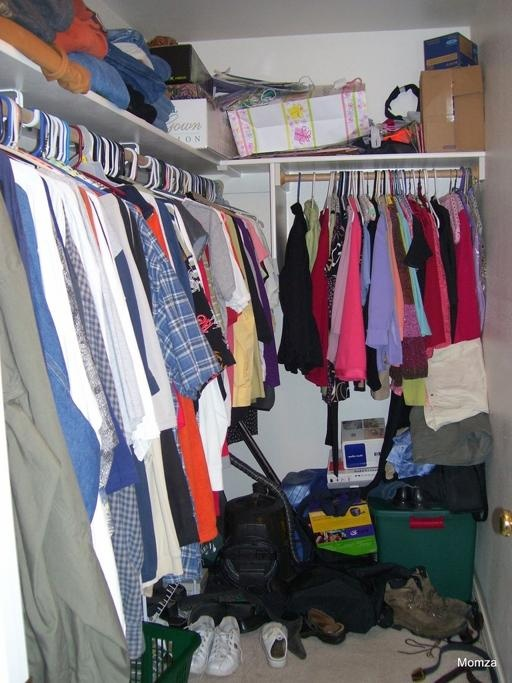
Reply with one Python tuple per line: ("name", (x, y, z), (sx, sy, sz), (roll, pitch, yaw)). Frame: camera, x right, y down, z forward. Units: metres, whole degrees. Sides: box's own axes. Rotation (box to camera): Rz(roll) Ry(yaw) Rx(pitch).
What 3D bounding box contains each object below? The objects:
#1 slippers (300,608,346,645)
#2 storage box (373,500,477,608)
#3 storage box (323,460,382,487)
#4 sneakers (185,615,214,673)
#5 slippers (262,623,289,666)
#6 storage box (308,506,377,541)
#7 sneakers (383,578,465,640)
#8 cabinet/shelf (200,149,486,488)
("slippers", (0.236, 0.991, 2.053), (0.070, 0.049, 0.130), (-7, 6, -31))
("storage box", (0.631, 0.818, 2.255), (0.385, 0.287, 0.292), (-1, -9, 8))
("storage box", (0.419, 0.595, 2.563), (0.214, 0.087, 0.068), (-5, 12, 8))
("sneakers", (-0.165, 0.985, 1.960), (0.094, 0.108, 0.271), (-1, -1, 5))
("slippers", (0.062, 1.015, 1.969), (0.093, 0.064, 0.163), (-7, 12, -2))
("storage box", (0.353, 0.751, 2.385), (0.244, 0.159, 0.156), (-14, -7, 1))
("sneakers", (0.595, 0.980, 2.175), (0.244, 0.121, 0.337), (2, -2, 10))
("cabinet/shelf", (0.235, -0.053, 2.991), (1.480, 1.825, 1.249), (1, 5, 6))
